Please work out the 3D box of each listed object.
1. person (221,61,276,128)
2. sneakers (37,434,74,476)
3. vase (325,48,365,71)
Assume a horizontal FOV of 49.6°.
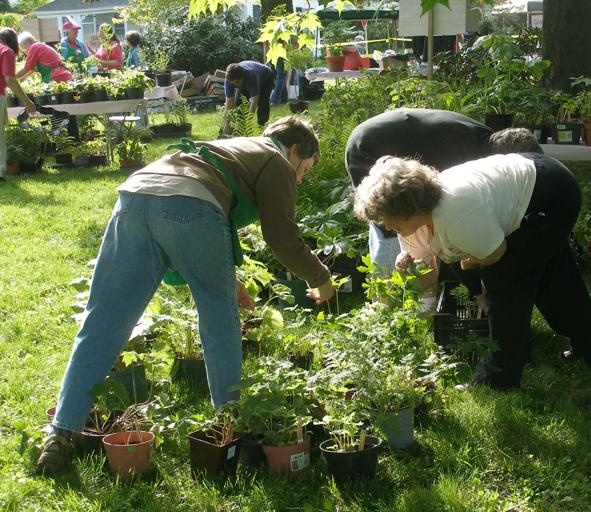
[{"bbox_3d":[-0.676,-2.332,9.255,0.630,0.966,0.905,3,24,9],"label":"person"},{"bbox_3d":[-1.087,0.900,2.897,0.096,0.090,0.203,10,5,-13],"label":"sneakers"},{"bbox_3d":[0.932,-3.666,11.979,0.673,0.456,0.699,-1,-2,-6],"label":"vase"}]
